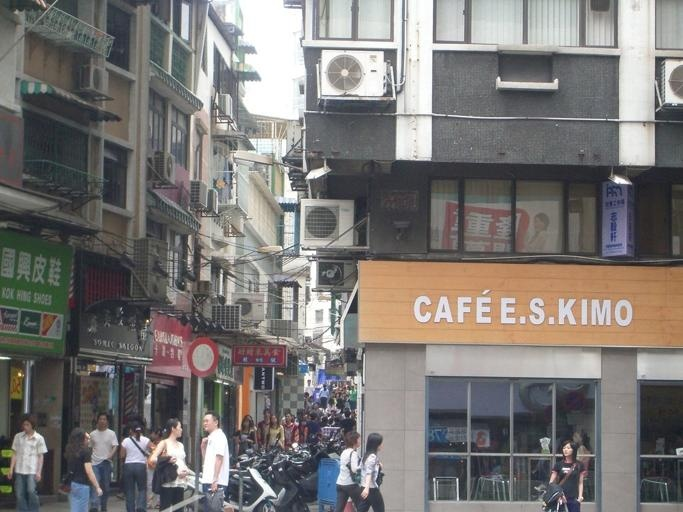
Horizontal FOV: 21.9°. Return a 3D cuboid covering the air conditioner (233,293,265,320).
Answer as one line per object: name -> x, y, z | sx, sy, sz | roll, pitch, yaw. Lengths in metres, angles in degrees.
air conditioner -> -2.854, 1.600, 55.393 | 1.173, 1.149, 0.694 | 2, -20, -5

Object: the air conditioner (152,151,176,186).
air conditioner -> -4.633, -2.289, 45.870 | 0.294, 0.731, 0.802 | -1, -8, 6

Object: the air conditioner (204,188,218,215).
air conditioner -> -3.702, -1.573, 50.780 | 0.523, 0.951, 1.041 | 0, -5, -1

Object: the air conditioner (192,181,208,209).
air conditioner -> -4.008, -1.761, 49.791 | 0.436, 0.716, 0.628 | -1, -13, 10

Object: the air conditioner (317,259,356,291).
air conditioner -> -0.133, 0.423, 40.486 | 0.991, 0.830, 0.614 | 0, -9, 2
